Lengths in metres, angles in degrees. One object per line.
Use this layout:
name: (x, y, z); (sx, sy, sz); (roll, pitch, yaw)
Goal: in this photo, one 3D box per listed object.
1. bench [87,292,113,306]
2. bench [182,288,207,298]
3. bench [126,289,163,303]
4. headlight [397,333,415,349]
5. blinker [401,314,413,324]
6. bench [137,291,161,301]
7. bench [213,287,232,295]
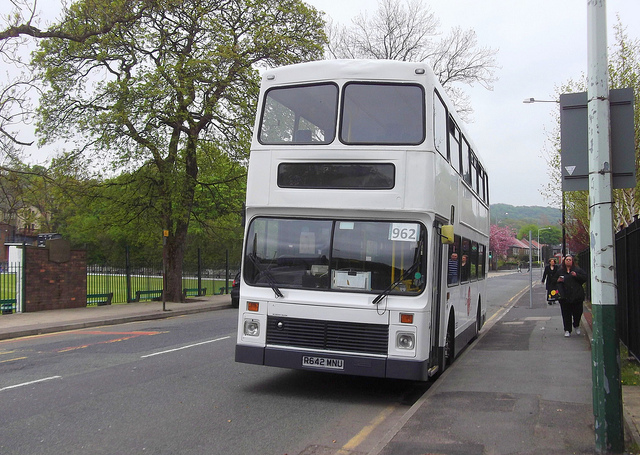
bench: (-10.063, 3.290, 23.910); (0.371, 0.567, 1.479); (-1, -2, 31)
bench: (-7.185, 3.713, 29.850); (0.446, 0.568, 2.472); (-1, -2, 11)
bench: (-8.796, 3.454, 26.606); (0.408, 0.631, 2.319); (-1, -2, 17)
headlight: (1.381, 1.808, 8.387); (0.235, 0.262, 0.235); (0, -6, 9)
blinker: (1.390, 1.468, 8.397); (0.189, 0.151, 0.112); (-1, -9, 10)
bench: (-8.708, 3.522, 26.894); (0.238, 0.437, 1.431); (-1, -2, 30)
bench: (-6.053, 3.959, 32.861); (0.639, 0.441, 1.440); (-1, -2, 23)
